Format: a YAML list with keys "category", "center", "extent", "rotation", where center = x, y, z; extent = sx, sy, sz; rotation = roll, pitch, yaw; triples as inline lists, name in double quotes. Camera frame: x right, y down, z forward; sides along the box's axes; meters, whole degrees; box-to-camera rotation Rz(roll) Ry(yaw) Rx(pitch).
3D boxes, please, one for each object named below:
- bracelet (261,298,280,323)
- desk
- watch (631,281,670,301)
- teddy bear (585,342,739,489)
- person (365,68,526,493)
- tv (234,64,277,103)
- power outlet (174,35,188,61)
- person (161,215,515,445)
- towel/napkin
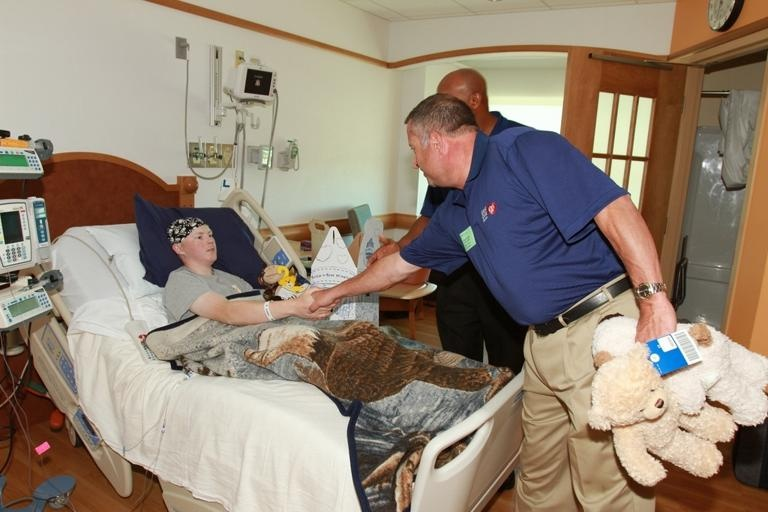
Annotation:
- category: "bracelet"
  center: [-0.654, 0.317, 3.048]
  extent: [0.036, 0.099, 0.080]
  rotation: [-15, 20, -14]
- category: "desk"
  center: [0.152, 0.449, 4.739]
  extent: [0.522, 0.645, 0.472]
  rotation: [5, 15, 33]
- category: "watch"
  center: [1.034, 0.138, 2.059]
  extent: [0.093, 0.061, 0.097]
  rotation: [0, -10, -3]
- category: "teddy bear"
  center: [1.056, 0.598, 2.026]
  extent: [0.443, 0.465, 0.380]
  rotation: [-43, 26, -2]
- category: "person"
  center: [0.492, -0.002, 3.313]
  extent: [0.875, 2.154, 0.641]
  rotation: [-4, 35, 7]
- category: "tv"
  center: [-0.983, -1.365, 4.256]
  extent: [0.301, 0.284, 0.149]
  rotation: [10, 5, 7]
- category: "power outlet"
  center: [-1.527, -1.569, 4.045]
  extent: [0.128, 0.160, 0.046]
  rotation: [-13, 18, -38]
- category: "person"
  center: [-0.391, 0.437, 3.056]
  extent: [1.744, 0.746, 1.026]
  rotation: [11, 15, 21]
- category: "towel/napkin"
  center: [3.163, -1.031, 4.826]
  extent: [0.282, 0.902, 0.182]
  rotation: [6, 16, 30]
